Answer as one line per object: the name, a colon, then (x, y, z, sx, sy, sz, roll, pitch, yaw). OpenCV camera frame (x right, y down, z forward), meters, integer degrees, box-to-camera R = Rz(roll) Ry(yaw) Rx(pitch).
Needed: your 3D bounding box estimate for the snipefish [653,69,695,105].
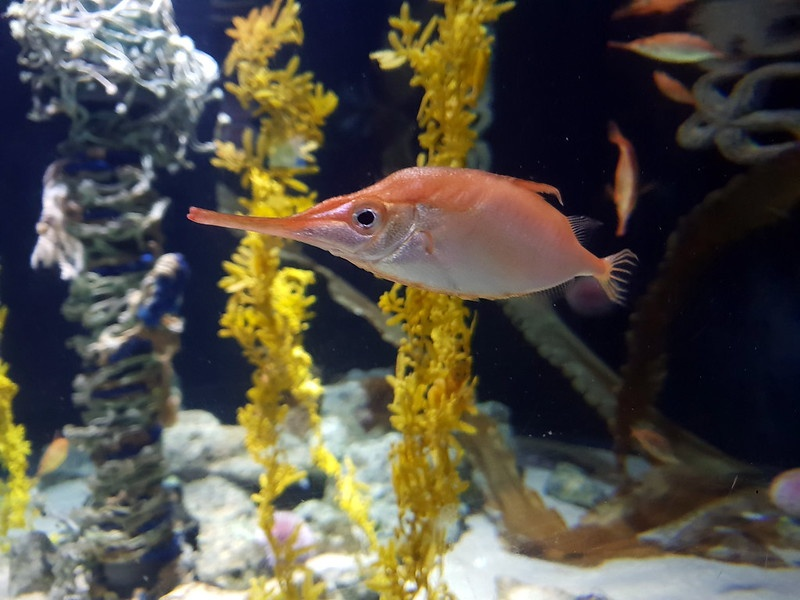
snipefish: (1.656, -1.266, 5.865, 0.286, 0.118, 0.095, 27, 77, 16)

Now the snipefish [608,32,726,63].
snipefish: (1.582, -1.491, 5.790, 0.653, 0.143, 0.126, 5, 72, 10)
